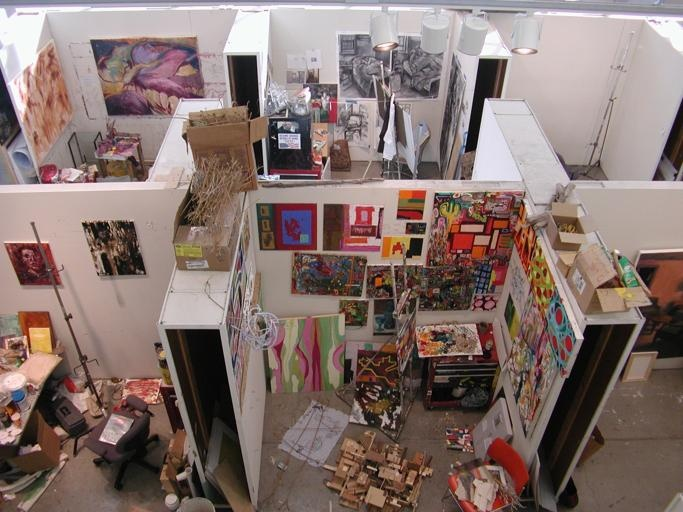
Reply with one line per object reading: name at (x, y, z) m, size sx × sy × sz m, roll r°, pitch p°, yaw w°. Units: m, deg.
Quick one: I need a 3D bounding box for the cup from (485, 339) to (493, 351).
cup at (1.669, 1.021, 5.686) m, size 0.075 × 0.124 × 0.077 m, roll -1°, pitch 55°, yaw 1°

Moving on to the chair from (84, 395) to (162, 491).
chair at (-2.397, 2.099, 5.485) m, size 0.496 × 0.606 × 0.518 m, roll 32°, pitch 54°, yaw -2°

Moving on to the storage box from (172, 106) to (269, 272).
storage box at (-1.071, -0.572, 4.630) m, size 0.798 × 0.647 × 1.551 m, roll -1°, pitch 67°, yaw -3°

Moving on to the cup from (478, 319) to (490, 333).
cup at (1.663, 0.834, 5.836) m, size 0.121 × 0.094 × 0.127 m, roll 2°, pitch 46°, yaw -2°

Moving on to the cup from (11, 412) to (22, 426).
cup at (-3.381, 1.708, 5.201) m, size 0.083 × 0.086 × 0.085 m, roll 0°, pitch 16°, yaw 0°

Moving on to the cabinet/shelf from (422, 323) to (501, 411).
cabinet/shelf at (1.381, 1.400, 6.194) m, size 1.111 × 1.597 × 0.915 m, roll 0°, pitch 55°, yaw 6°

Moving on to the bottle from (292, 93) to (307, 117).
bottle at (-0.525, -1.924, 6.335) m, size 0.189 × 0.318 × 0.316 m, roll 4°, pitch 50°, yaw 1°

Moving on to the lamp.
lamp at (1.203, -2.370, 5.322) m, size 1.838 × 0.529 × 0.833 m, roll -5°, pitch 30°, yaw -10°
